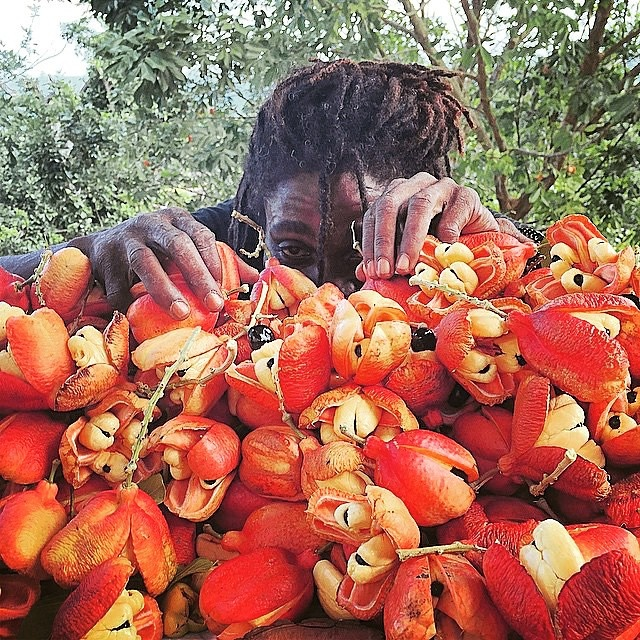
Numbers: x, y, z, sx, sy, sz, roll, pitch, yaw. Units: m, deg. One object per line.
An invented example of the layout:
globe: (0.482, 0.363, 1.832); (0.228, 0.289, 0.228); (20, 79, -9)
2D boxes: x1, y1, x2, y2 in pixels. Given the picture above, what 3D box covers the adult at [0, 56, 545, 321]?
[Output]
adult: (0.004, -0.245, 1.153); (0.632, 0.308, 0.754); (-5, 6, -2)
